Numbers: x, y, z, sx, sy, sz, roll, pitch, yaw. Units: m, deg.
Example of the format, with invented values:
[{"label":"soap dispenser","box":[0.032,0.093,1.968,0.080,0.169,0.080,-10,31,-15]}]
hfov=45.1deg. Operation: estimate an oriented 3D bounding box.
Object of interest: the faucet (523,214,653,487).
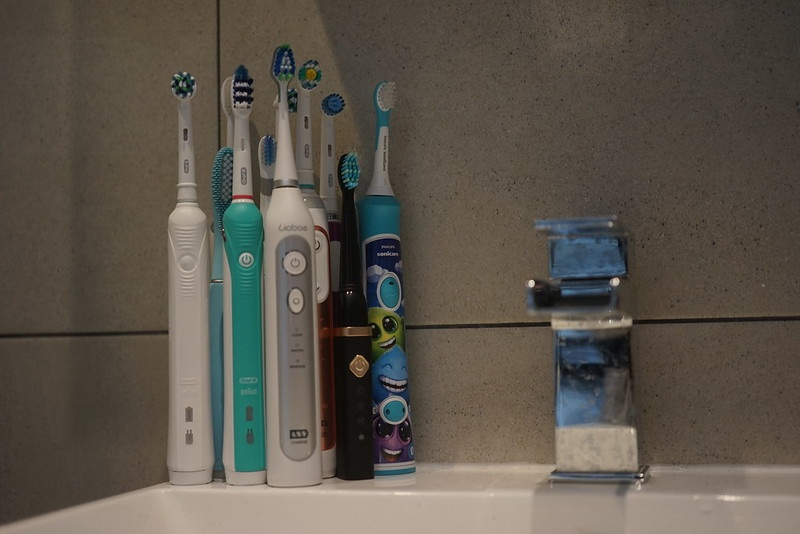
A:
[{"label":"faucet","box":[0.228,0.098,1.130,0.213,0.303,0.105,1,-2,-39]}]
